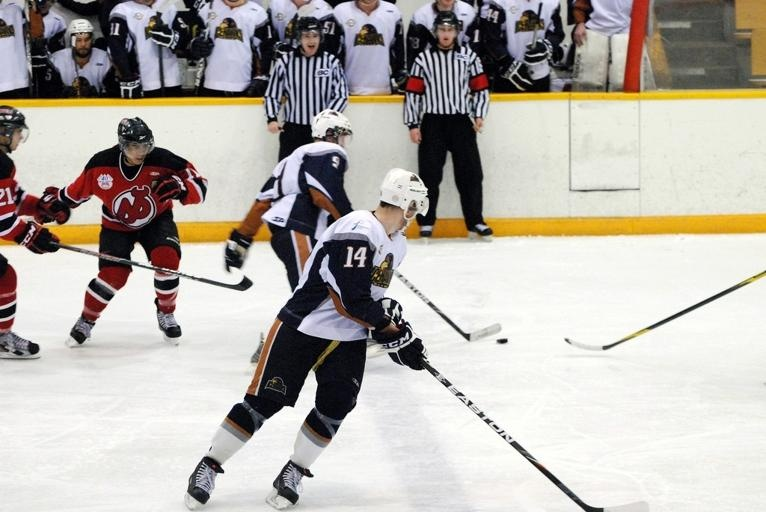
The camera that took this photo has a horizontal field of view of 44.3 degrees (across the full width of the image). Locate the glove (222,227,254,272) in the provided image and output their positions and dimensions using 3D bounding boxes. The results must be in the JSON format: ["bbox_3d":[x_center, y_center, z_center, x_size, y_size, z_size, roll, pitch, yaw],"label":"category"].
[{"bbox_3d":[-0.909,-0.043,5.860,0.157,0.255,0.077,31,-1,-15],"label":"glove"}]

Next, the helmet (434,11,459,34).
[{"bbox_3d":[0.534,-1.924,7.835,0.162,0.170,0.176,2,-24,1],"label":"helmet"}]

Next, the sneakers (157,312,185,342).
[{"bbox_3d":[-1.371,0.446,6.136,0.097,0.108,0.277,-18,41,-22],"label":"sneakers"}]

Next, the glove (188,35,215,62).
[{"bbox_3d":[-1.560,-1.819,8.145,0.207,0.230,0.252,-1,7,-14],"label":"glove"}]

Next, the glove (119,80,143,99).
[{"bbox_3d":[-2.153,-1.436,8.089,0.175,0.156,0.065,-2,8,-19],"label":"glove"}]

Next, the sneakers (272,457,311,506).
[{"bbox_3d":[-0.423,1.071,4.450,0.111,0.205,0.211,7,10,39],"label":"sneakers"}]

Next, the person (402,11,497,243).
[{"bbox_3d":[0.557,-1.086,7.972,0.758,1.868,0.272,2,8,5],"label":"person"}]

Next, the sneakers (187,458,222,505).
[{"bbox_3d":[-0.813,1.042,4.462,0.137,0.092,0.279,-29,19,13],"label":"sneakers"}]

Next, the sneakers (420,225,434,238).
[{"bbox_3d":[0.369,-0.214,8.073,0.099,0.107,0.256,1,-5,2],"label":"sneakers"}]

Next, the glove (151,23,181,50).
[{"bbox_3d":[-1.863,-1.872,8.082,0.249,0.211,0.148,-2,8,-24],"label":"glove"}]

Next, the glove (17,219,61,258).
[{"bbox_3d":[-2.144,-0.099,5.936,0.254,0.170,0.120,28,-30,-18],"label":"glove"}]

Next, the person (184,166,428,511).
[{"bbox_3d":[-0.323,0.377,4.479,1.079,1.564,0.396,1,8,-4],"label":"person"}]

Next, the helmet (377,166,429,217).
[{"bbox_3d":[0.119,-0.297,4.603,0.240,0.207,0.188,5,5,-27],"label":"helmet"}]

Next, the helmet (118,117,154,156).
[{"bbox_3d":[-1.518,-0.729,5.799,0.207,0.212,0.254,-11,32,-33],"label":"helmet"}]

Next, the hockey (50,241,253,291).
[{"bbox_3d":[-1.626,0.084,6.606,1.319,0.126,0.144,9,50,4],"label":"hockey"}]

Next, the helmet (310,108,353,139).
[{"bbox_3d":[-0.316,-0.807,5.829,0.234,0.207,0.168,-7,34,-8],"label":"helmet"}]

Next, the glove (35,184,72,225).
[{"bbox_3d":[-2.122,-0.309,6.049,0.142,0.187,0.256,-14,22,-24],"label":"glove"}]

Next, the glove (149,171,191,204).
[{"bbox_3d":[-1.320,-0.419,5.937,0.180,0.083,0.186,-19,-18,29],"label":"glove"}]

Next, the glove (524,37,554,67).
[{"bbox_3d":[1.348,-1.780,8.214,0.263,0.120,0.173,-8,44,12],"label":"glove"}]

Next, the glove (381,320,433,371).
[{"bbox_3d":[0.133,0.434,4.614,0.263,0.191,0.106,36,35,-25],"label":"glove"}]

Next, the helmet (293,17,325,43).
[{"bbox_3d":[-0.603,-1.857,7.728,0.223,0.188,0.168,-11,-3,42],"label":"helmet"}]

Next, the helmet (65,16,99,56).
[{"bbox_3d":[-2.651,-1.958,8.308,0.185,0.261,0.334,-2,8,-23],"label":"helmet"}]
